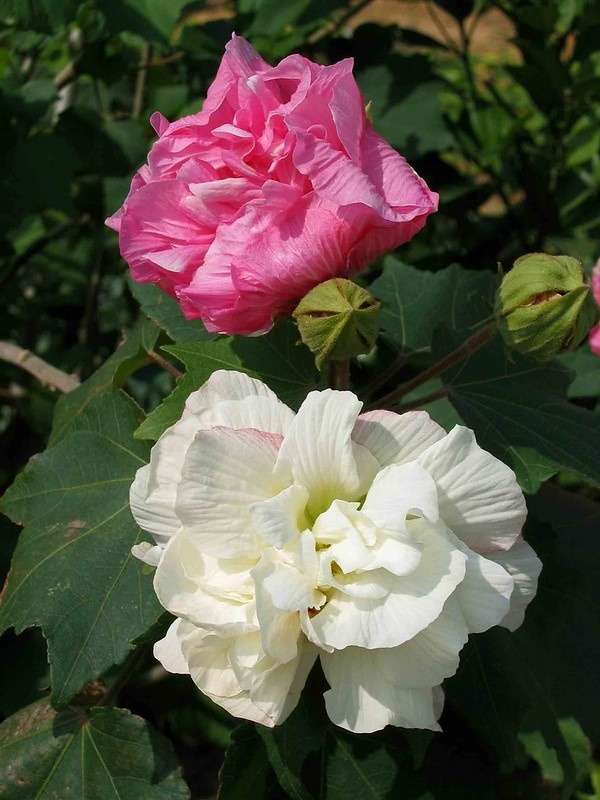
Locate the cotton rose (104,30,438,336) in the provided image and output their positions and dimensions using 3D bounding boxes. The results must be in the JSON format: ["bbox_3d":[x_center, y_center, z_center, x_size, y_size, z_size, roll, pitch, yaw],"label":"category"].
[{"bbox_3d":[-0.061,-0.253,0.922,0.354,0.194,0.311,-37,71,-4],"label":"cotton rose"}]
